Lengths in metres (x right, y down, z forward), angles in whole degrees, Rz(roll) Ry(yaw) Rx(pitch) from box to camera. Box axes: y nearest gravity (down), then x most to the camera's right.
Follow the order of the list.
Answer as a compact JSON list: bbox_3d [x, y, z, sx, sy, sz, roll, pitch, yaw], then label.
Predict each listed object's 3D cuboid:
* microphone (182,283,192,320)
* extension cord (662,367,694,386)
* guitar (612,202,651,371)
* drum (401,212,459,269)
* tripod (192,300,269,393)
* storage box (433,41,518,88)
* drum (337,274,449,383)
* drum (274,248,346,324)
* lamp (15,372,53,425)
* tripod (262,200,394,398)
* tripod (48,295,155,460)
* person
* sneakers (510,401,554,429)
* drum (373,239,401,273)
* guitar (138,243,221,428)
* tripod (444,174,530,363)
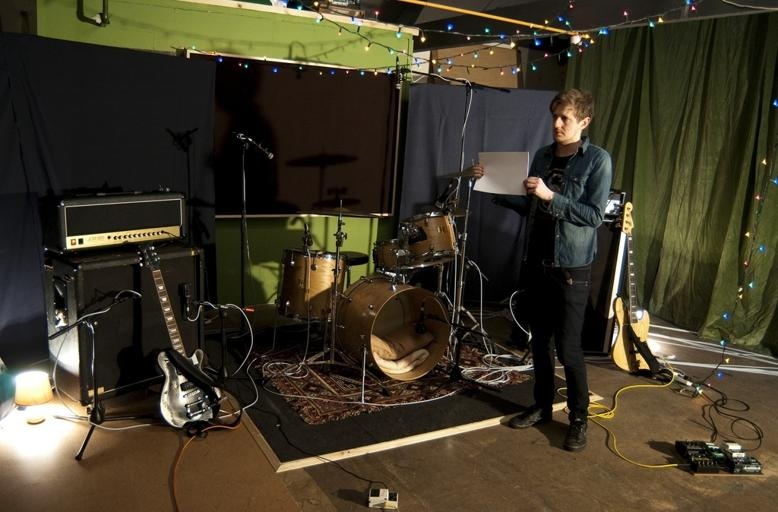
[{"bbox_3d":[-1.585,0.359,4.646,0.048,0.225,0.122,-9,7,-24],"label":"microphone"},{"bbox_3d":[2.504,1.046,5.129,0.159,0.046,0.160,29,0,44],"label":"extension cord"},{"bbox_3d":[2.171,0.290,5.238,0.371,1.436,0.495,6,18,20],"label":"guitar"},{"bbox_3d":[0.380,-0.150,5.224,0.481,0.362,0.491,-9,-10,-2],"label":"drum"},{"bbox_3d":[-1.392,0.718,5.012,0.592,0.661,0.518,6,1,32],"label":"tripod"},{"bbox_3d":[1.262,-2.545,7.944,1.438,0.538,0.672,-12,21,-35],"label":"storage box"},{"bbox_3d":[0.002,0.596,5.045,0.814,0.787,0.674,1,8,-27],"label":"drum"},{"bbox_3d":[-0.647,0.124,5.302,0.635,0.598,0.599,20,29,26],"label":"drum"},{"bbox_3d":[-2.634,1.030,4.407,0.286,0.417,0.289,-3,8,-44],"label":"lamp"},{"bbox_3d":[-0.603,0.278,5.814,1.261,1.541,1.531,11,11,34],"label":"tripod"},{"bbox_3d":[-2.068,0.824,4.244,0.650,1.005,0.629,-8,21,-35],"label":"tripod"},{"bbox_3d":[1.230,0.095,4.290,0.584,2.487,0.726,4,18,15],"label":"person"},{"bbox_3d":[1.089,1.214,4.579,0.397,0.157,0.139,-5,16,-17],"label":"sneakers"},{"bbox_3d":[-0.042,-0.002,5.117,0.257,0.239,0.253,1,5,11],"label":"drum"},{"bbox_3d":[-1.533,0.588,4.403,0.433,1.196,0.658,-7,18,-20],"label":"guitar"},{"bbox_3d":[0.870,0.120,5.904,1.179,1.806,1.032,6,9,10],"label":"tripod"}]
